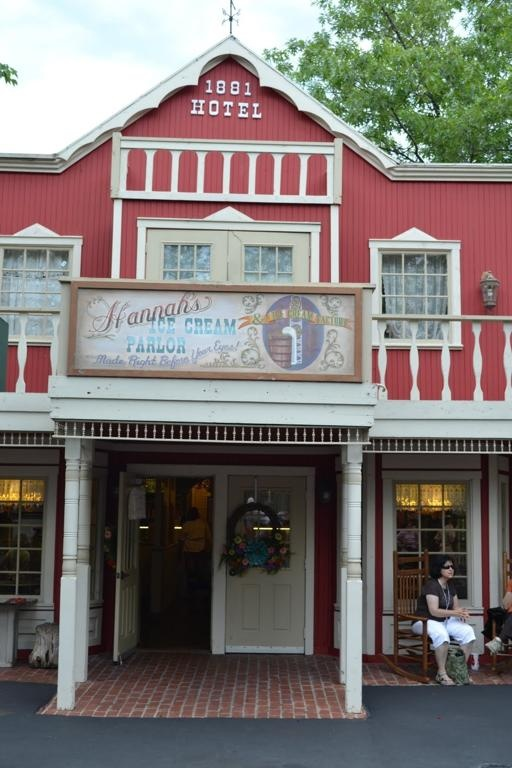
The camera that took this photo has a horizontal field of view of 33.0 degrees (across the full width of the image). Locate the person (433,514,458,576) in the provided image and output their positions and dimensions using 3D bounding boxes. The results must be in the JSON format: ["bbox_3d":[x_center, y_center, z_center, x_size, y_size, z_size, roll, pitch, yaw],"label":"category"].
[{"bbox_3d":[2.260,1.918,10.157,0.204,0.707,0.259,-12,1,-43],"label":"person"}]

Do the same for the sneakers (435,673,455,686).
[{"bbox_3d":[1.889,2.948,8.611,0.084,0.066,0.164,1,-16,-14],"label":"sneakers"}]

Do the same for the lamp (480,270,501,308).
[{"bbox_3d":[2.785,-1.110,10.287,0.228,0.469,0.317,-1,-6,15],"label":"lamp"}]

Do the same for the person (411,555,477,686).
[{"bbox_3d":[1.933,2.403,8.850,0.563,1.222,0.477,0,-6,8],"label":"person"}]

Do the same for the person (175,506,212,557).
[{"bbox_3d":[-0.964,2.344,13.916,0.430,0.734,0.672,1,-5,-5],"label":"person"}]

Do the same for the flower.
[{"bbox_3d":[0.025,1.888,10.635,0.794,0.869,0.310,0,-6,-5],"label":"flower"}]

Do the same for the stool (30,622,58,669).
[{"bbox_3d":[-2.304,2.864,9.436,0.334,0.459,0.249,4,-30,-4],"label":"stool"}]

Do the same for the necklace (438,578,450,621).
[{"bbox_3d":[1.945,2.221,8.885,0.084,0.341,0.189,-7,-8,26],"label":"necklace"}]
